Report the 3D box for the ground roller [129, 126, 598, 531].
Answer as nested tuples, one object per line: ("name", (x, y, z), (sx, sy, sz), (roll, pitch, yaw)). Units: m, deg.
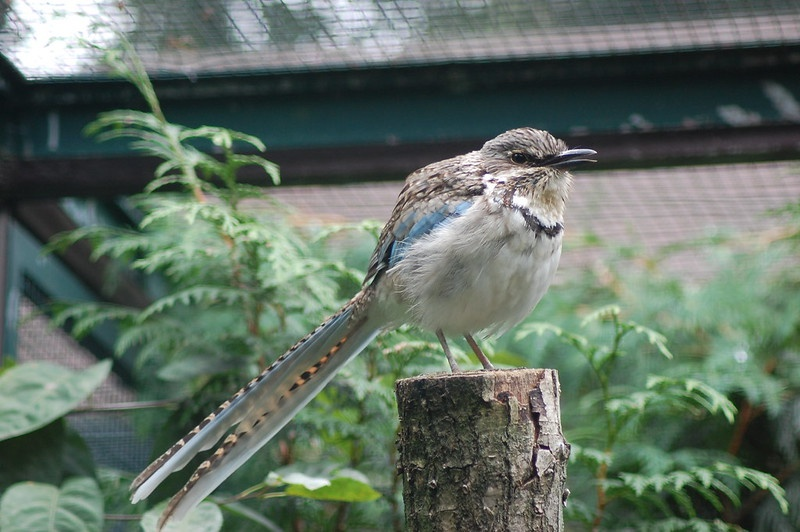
("ground roller", (-0.582, 0.235, 9.486), (3.287, 3.003, 2.465), (0, 15, -19))
